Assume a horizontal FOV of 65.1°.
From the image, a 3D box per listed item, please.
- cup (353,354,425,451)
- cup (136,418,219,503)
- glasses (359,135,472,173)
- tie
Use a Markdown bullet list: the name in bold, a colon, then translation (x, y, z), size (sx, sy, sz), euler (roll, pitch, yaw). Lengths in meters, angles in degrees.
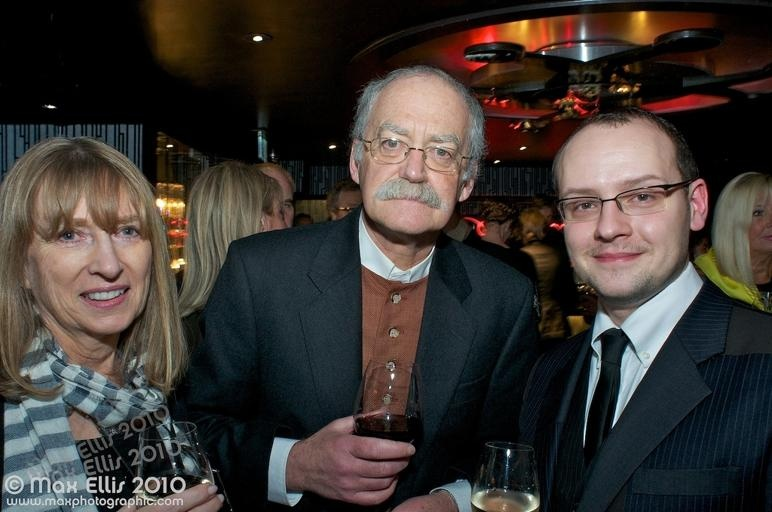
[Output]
- **cup**: translation (0.015, 0.564, 2.382), size (0.345, 0.400, 0.310), euler (7, -6, -6)
- **cup**: translation (-0.812, 0.778, 2.351), size (0.281, 0.251, 0.284), euler (-4, -8, -1)
- **glasses**: translation (0.134, -0.451, 2.737), size (0.466, 0.152, 0.123), euler (3, 5, 4)
- **tie**: translation (0.891, 0.534, 2.435), size (0.126, 0.621, 0.093), euler (7, -15, 34)
